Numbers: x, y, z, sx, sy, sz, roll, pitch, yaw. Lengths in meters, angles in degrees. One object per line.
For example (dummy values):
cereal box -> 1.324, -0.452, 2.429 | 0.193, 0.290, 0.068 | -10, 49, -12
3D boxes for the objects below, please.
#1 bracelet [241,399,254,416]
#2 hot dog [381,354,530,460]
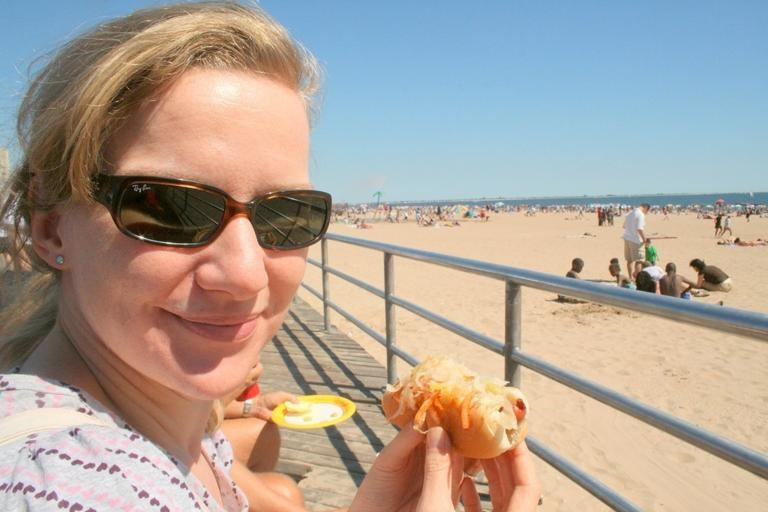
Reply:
bracelet -> -0.757, 0.852, 2.855 | 0.034, 0.087, 0.092 | 12, -6, -1
hot dog -> 0.251, 0.480, 1.666 | 0.292, 0.186, 0.471 | -19, 13, -36
